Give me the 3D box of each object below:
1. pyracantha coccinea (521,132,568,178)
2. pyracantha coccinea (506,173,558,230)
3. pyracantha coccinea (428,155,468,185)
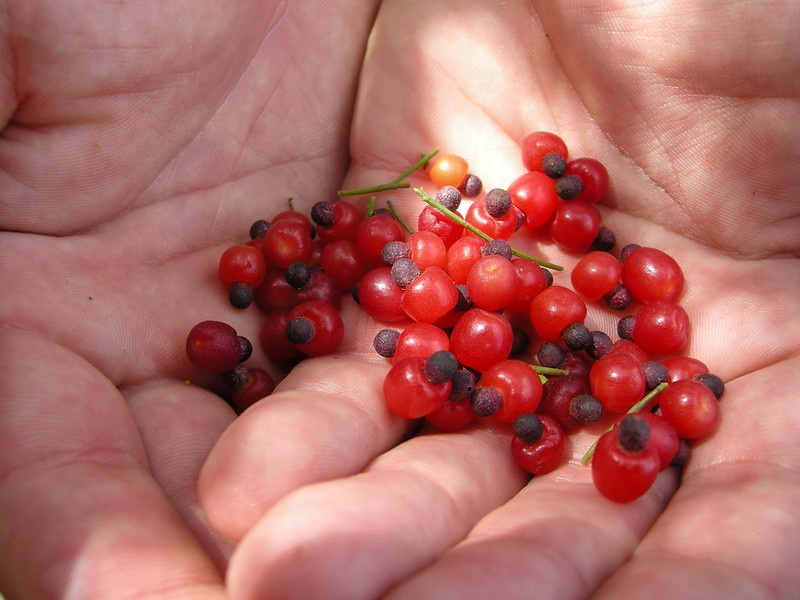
[{"bbox_3d":[0.339,-0.367,1.739,0.120,0.074,0.110,0,2,-29],"label":"pyracantha coccinea"},{"bbox_3d":[0.319,-0.235,1.723,0.103,0.140,0.120,5,0,8],"label":"pyracantha coccinea"},{"bbox_3d":[0.129,-0.320,1.787,0.100,0.084,0.075,2,31,-5],"label":"pyracantha coccinea"}]
